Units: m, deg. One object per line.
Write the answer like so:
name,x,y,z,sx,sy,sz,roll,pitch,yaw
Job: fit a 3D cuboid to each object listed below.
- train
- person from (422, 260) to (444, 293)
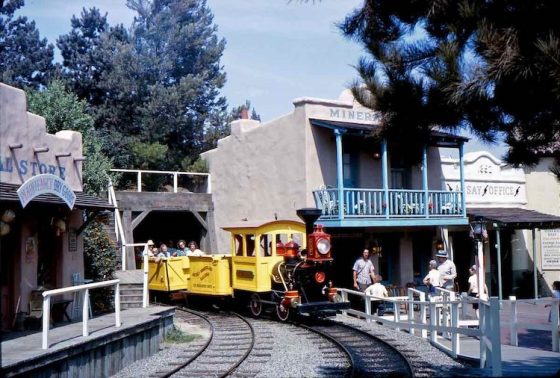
train,-1.750,2.561,24.294,2.602,3.637,8.959,1,-5,-31
person,4.671,2.666,21.990,0.502,1.007,1.840,-3,-8,12
